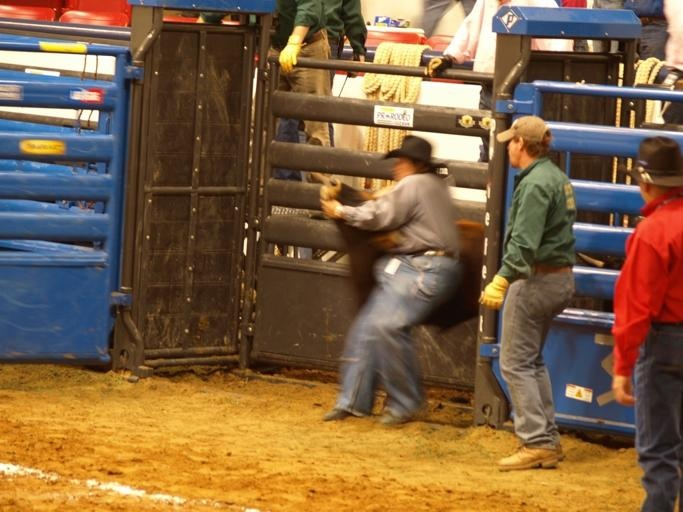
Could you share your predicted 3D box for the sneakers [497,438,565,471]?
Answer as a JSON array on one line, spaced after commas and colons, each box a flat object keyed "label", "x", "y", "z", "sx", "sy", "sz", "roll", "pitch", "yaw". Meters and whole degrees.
[{"label": "sneakers", "x": 1.281, "y": 1.372, "z": 5.884, "sx": 0.452, "sy": 0.209, "sz": 0.158, "roll": 1, "pitch": 1, "yaw": -1}]

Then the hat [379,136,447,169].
[{"label": "hat", "x": 0.582, "y": -0.768, "z": 6.464, "sx": 0.334, "sy": 0.127, "sz": 0.274, "roll": 16, "pitch": 3, "yaw": -4}]

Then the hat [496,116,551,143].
[{"label": "hat", "x": 1.230, "y": -0.823, "z": 5.733, "sx": 0.289, "sy": 0.149, "sz": 0.185, "roll": 9, "pitch": 15, "yaw": 16}]

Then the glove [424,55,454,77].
[{"label": "glove", "x": 0.785, "y": -1.506, "z": 6.852, "sx": 0.220, "sy": 0.152, "sz": 0.146, "roll": 4, "pitch": 10, "yaw": 13}]

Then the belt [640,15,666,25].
[{"label": "belt", "x": 3.226, "y": -2.408, "z": 8.855, "sx": 0.233, "sy": 0.077, "sz": 0.201, "roll": 4, "pitch": 8, "yaw": 27}]

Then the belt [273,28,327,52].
[{"label": "belt", "x": -0.451, "y": -2.063, "z": 8.267, "sx": 0.348, "sy": 0.083, "sz": 0.247, "roll": -12, "pitch": 11, "yaw": -13}]

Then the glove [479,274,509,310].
[{"label": "glove", "x": 1.010, "y": 0.249, "z": 5.657, "sx": 0.109, "sy": 0.224, "sz": 0.184, "roll": 27, "pitch": -8, "yaw": -27}]
